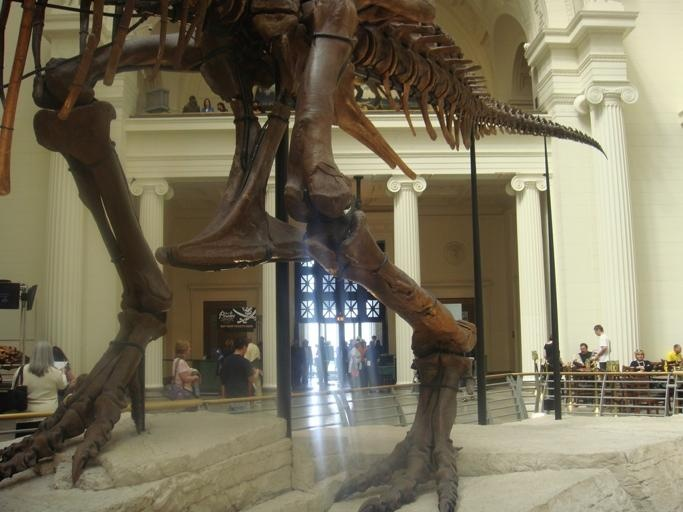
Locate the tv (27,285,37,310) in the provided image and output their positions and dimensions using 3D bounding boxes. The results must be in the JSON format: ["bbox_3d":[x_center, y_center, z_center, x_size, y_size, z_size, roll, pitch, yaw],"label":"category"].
[{"bbox_3d":[-6.686,0.921,13.413,0.178,0.559,1.022,2,-8,-27],"label":"tv"}]

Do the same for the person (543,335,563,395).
[{"bbox_3d":[3.889,1.990,11.134,0.284,1.099,0.288,-10,0,24],"label":"person"}]

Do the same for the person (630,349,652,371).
[{"bbox_3d":[5.674,2.022,11.687,0.530,0.307,0.760,-1,-4,14],"label":"person"}]
